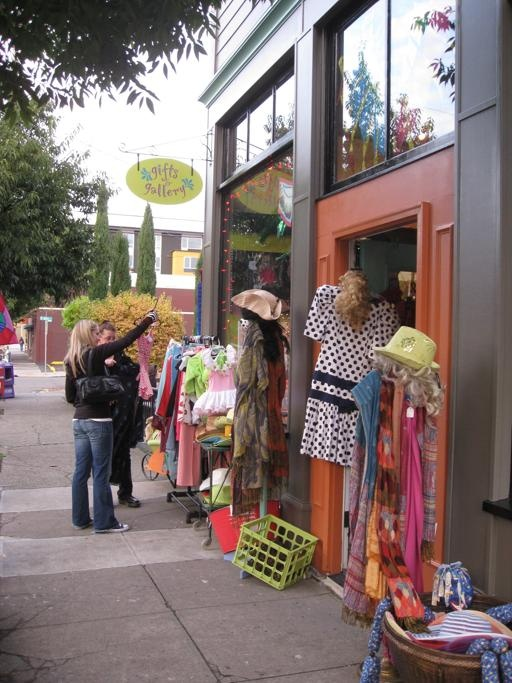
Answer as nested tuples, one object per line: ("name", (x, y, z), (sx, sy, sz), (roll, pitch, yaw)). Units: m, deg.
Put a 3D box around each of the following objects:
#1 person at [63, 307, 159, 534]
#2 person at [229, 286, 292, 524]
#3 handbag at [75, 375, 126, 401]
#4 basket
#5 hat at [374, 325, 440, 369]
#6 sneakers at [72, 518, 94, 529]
("person", (-1.339, 0.728, 4.994), (0.618, 1.674, 0.679), (2, 0, -26))
("person", (0.046, 0.479, 4.394), (0.421, 1.654, 0.445), (2, 0, 0))
("handbag", (-1.284, 0.392, 4.775), (0.362, 0.206, 0.240), (3, 1, -20))
("basket", (0.159, 1.481, 4.208), (0.583, 0.461, 0.642), (4, 1, 36))
("hat", (0.635, 0.028, 2.483), (0.240, 0.185, 0.101), (4, 1, 15))
("sneakers", (-1.502, 1.564, 5.052), (0.059, 0.102, 0.187), (5, 6, 36))
